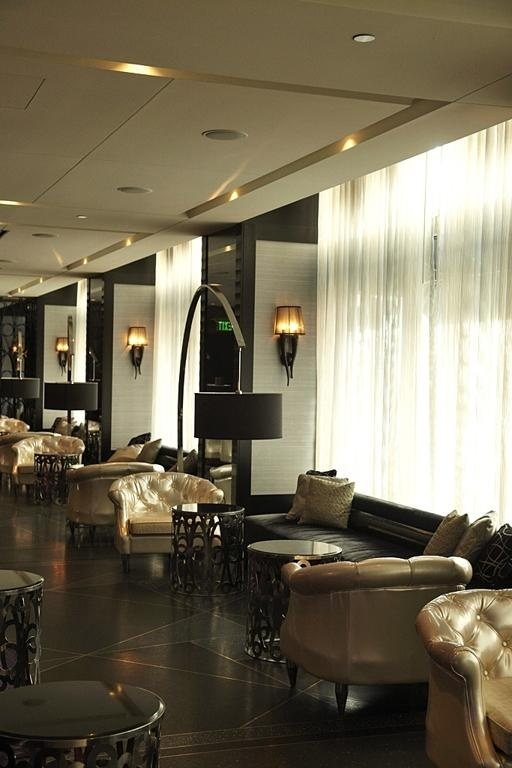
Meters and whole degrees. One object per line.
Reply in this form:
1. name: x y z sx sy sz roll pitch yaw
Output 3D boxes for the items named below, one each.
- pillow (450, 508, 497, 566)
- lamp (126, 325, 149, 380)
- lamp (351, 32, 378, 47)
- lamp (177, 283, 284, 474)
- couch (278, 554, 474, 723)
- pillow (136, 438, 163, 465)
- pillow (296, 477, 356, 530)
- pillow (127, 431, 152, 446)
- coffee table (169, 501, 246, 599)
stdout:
1. pillow: 1.240 0.881 3.661 0.118 0.268 0.215 26 13 11
2. lamp: -1.913 -0.521 10.275 0.345 0.801 0.155 2 -3 -14
3. lamp: 0.401 -1.293 2.399 0.086 0.027 0.119 1 -4 9
4. lamp: -0.325 -0.186 5.781 0.725 2.052 3.073 2 -4 -7
5. couch: 0.555 1.023 3.202 0.807 0.750 0.756 1 -3 -23
6. pillow: -1.427 0.911 8.630 0.247 0.302 0.154 11 -24 14
7. pillow: 0.614 1.040 5.540 0.334 0.359 0.134 5 -20 17
8. pillow: -1.744 0.836 9.752 0.218 0.080 0.263 -12 9 1
9. coffee table: -0.328 1.356 5.362 0.622 0.735 0.649 0 -4 3
